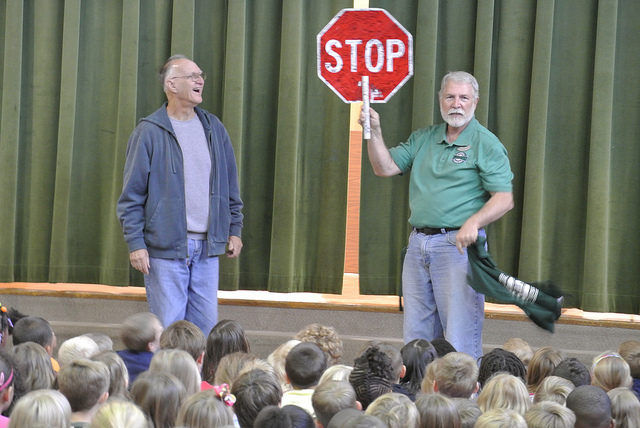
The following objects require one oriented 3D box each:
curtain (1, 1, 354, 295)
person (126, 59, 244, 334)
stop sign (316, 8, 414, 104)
[{"bbox_3d":[-0.846,-0.425,7.668,2.021,1.817,0.154,2,1,5],"label":"curtain"},{"bbox_3d":[-0.834,0.134,7.214,0.801,2.163,0.544,-6,13,-29],"label":"person"},{"bbox_3d":[0.300,-0.993,7.214,0.716,0.610,0.094,-1,0,5],"label":"stop sign"}]
